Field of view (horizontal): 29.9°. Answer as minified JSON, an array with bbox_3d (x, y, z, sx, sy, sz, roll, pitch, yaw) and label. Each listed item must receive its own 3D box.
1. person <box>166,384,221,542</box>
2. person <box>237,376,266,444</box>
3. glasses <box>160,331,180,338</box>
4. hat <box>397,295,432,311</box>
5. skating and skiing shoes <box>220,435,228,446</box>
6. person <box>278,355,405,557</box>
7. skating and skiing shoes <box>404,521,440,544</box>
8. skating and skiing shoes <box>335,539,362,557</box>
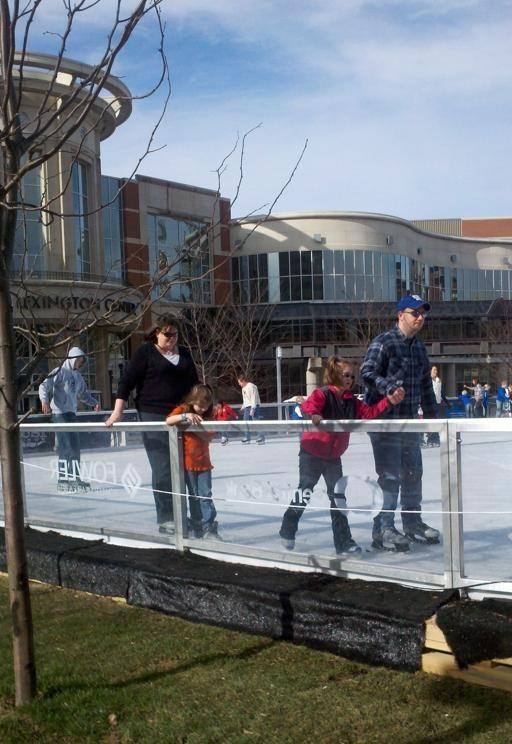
[{"bbox_3d":[-0.383,0.607,5.866,0.291,0.954,0.433,-5,12,-3],"label":"person"},{"bbox_3d":[-0.141,0.827,18.776,0.533,1.404,0.426,-9,-6,42],"label":"person"},{"bbox_3d":[-0.571,-0.243,6.427,0.049,0.059,0.139,6,14,40],"label":"glasses"},{"bbox_3d":[0.943,-0.419,5.808,0.181,0.098,0.120,-9,-7,43],"label":"hat"},{"bbox_3d":[-0.189,0.439,5.559,0.062,0.052,0.127,1,-5,4],"label":"skating and skiing shoes"},{"bbox_3d":[0.460,0.513,5.361,0.629,1.079,0.669,1,13,23],"label":"person"},{"bbox_3d":[0.830,0.864,4.792,0.072,0.091,0.200,-4,0,-37],"label":"skating and skiing shoes"},{"bbox_3d":[0.479,1.011,5.112,0.132,0.084,0.081,-12,-10,37],"label":"skating and skiing shoes"}]
